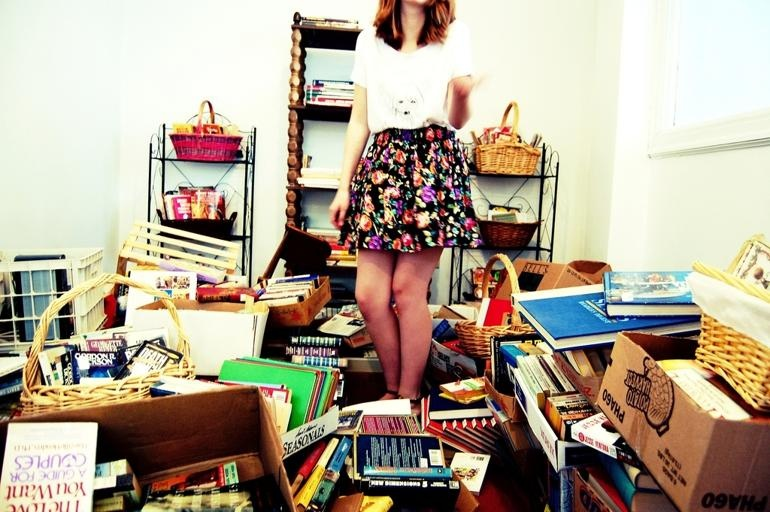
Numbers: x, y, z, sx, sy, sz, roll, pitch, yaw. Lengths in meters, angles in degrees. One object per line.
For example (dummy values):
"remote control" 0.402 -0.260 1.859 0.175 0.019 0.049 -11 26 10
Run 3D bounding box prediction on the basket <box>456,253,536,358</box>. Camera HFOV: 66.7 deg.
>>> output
"basket" 0.450 0.251 2.577 0.301 0.432 0.437 1 -6 -8

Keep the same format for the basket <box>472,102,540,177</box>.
"basket" 0.764 -0.755 3.760 0.379 0.547 0.554 1 14 -2

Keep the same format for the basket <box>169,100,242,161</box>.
"basket" -1.183 -0.825 3.830 0.420 0.364 0.238 1 -2 -4

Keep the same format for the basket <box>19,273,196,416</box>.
"basket" -0.977 0.301 2.136 0.599 0.580 0.422 2 -7 -33

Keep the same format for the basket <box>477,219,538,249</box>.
"basket" 0.785 -0.145 3.799 0.281 0.126 0.285 4 4 42
